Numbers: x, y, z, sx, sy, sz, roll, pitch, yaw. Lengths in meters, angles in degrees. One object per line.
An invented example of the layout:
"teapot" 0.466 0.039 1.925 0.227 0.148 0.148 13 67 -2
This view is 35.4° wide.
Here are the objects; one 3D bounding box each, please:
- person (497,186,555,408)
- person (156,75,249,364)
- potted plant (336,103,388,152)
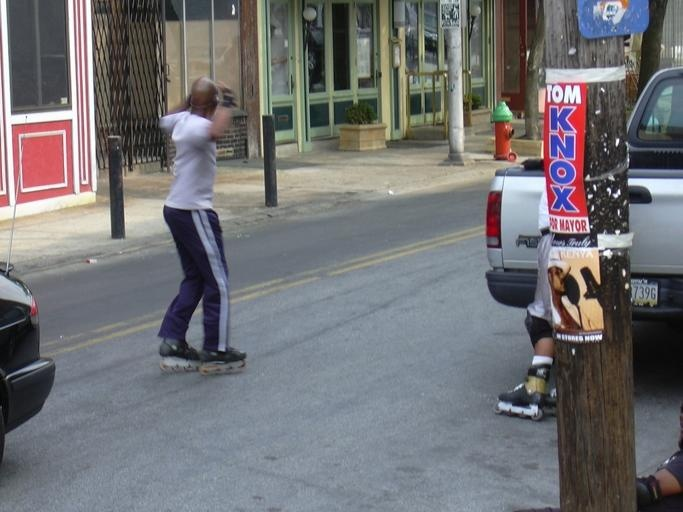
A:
"person" 1.596 0.352 8.427 0.432 1.845 0.381 -4 -19 31
"person" -1.227 -0.266 9.208 0.744 2.437 0.606 -1 9 -2
"potted plant" 0.457 -2.861 23.800 1.029 1.034 0.635 -1 10 1
